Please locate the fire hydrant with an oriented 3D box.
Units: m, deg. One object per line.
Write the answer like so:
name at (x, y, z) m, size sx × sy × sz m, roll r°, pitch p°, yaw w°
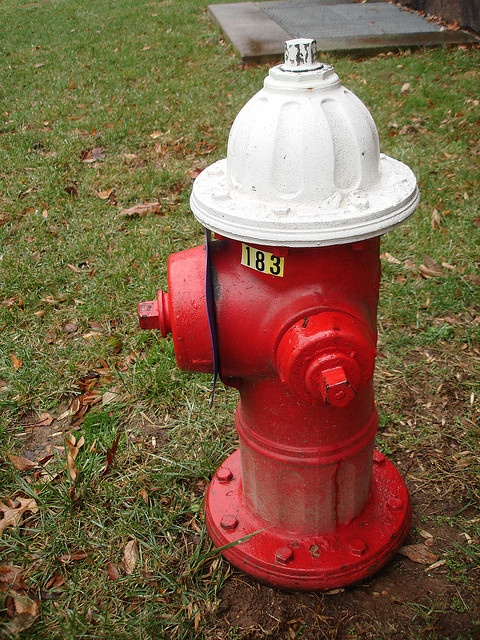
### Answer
fire hydrant at (0.139, 0.052, 2.027) m, size 0.739 × 1.562 × 0.553 m, roll 3°, pitch 31°, yaw 14°
